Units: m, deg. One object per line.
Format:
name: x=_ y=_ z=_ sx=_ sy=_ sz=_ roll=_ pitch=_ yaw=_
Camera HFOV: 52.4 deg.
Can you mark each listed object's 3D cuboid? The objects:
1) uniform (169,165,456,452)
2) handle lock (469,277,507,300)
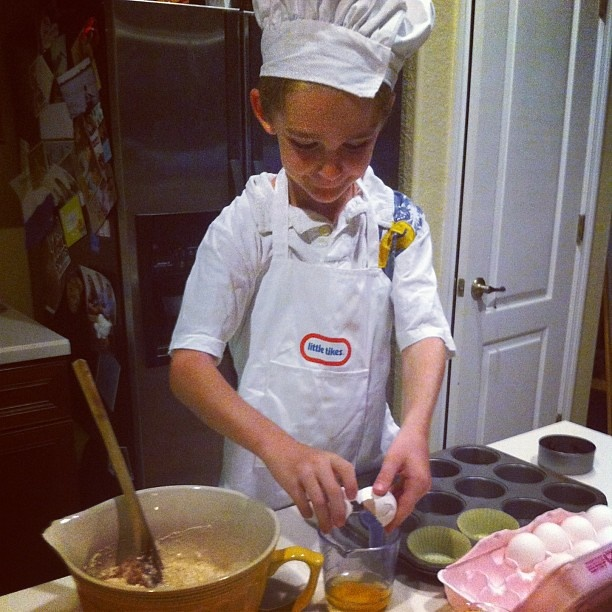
uniform: x=0.000 y=0.088 z=1.217 sx=0.496 sy=0.620 sz=0.309 roll=4 pitch=7 yaw=0
handle lock: x=0.646 y=-0.083 z=2.232 sx=0.079 sy=0.100 sz=0.099 roll=-17 pitch=17 yaw=-38
